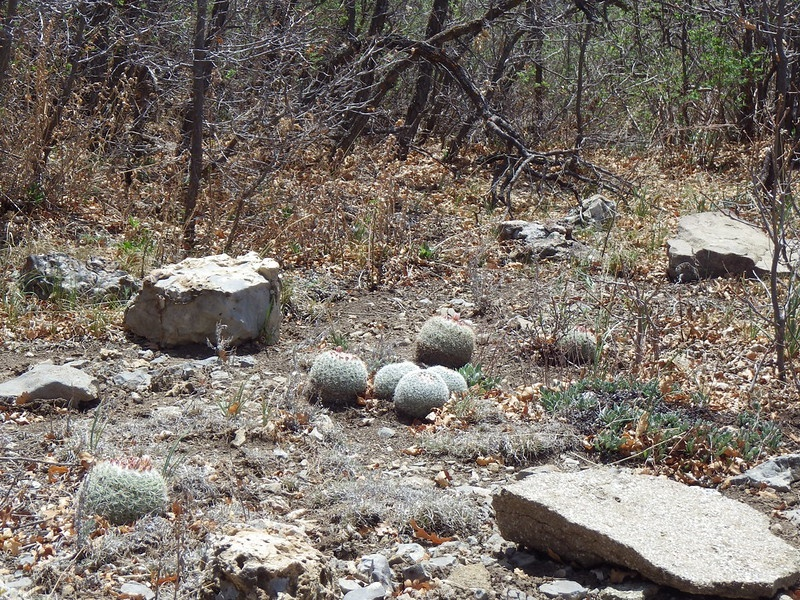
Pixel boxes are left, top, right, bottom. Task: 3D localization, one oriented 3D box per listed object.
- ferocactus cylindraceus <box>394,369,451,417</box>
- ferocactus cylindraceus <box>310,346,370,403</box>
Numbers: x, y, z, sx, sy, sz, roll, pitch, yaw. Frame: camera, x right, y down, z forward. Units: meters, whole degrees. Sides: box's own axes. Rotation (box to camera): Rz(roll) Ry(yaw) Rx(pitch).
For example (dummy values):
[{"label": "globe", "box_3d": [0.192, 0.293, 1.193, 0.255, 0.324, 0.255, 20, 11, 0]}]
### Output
[{"label": "ferocactus cylindraceus", "box_3d": [0.180, 0.777, 9.586, 0.370, 0.287, 0.371, 5, 12, 44]}, {"label": "ferocactus cylindraceus", "box_3d": [-0.505, 0.651, 9.691, 0.351, 0.430, 0.448, -14, -18, 33]}]
